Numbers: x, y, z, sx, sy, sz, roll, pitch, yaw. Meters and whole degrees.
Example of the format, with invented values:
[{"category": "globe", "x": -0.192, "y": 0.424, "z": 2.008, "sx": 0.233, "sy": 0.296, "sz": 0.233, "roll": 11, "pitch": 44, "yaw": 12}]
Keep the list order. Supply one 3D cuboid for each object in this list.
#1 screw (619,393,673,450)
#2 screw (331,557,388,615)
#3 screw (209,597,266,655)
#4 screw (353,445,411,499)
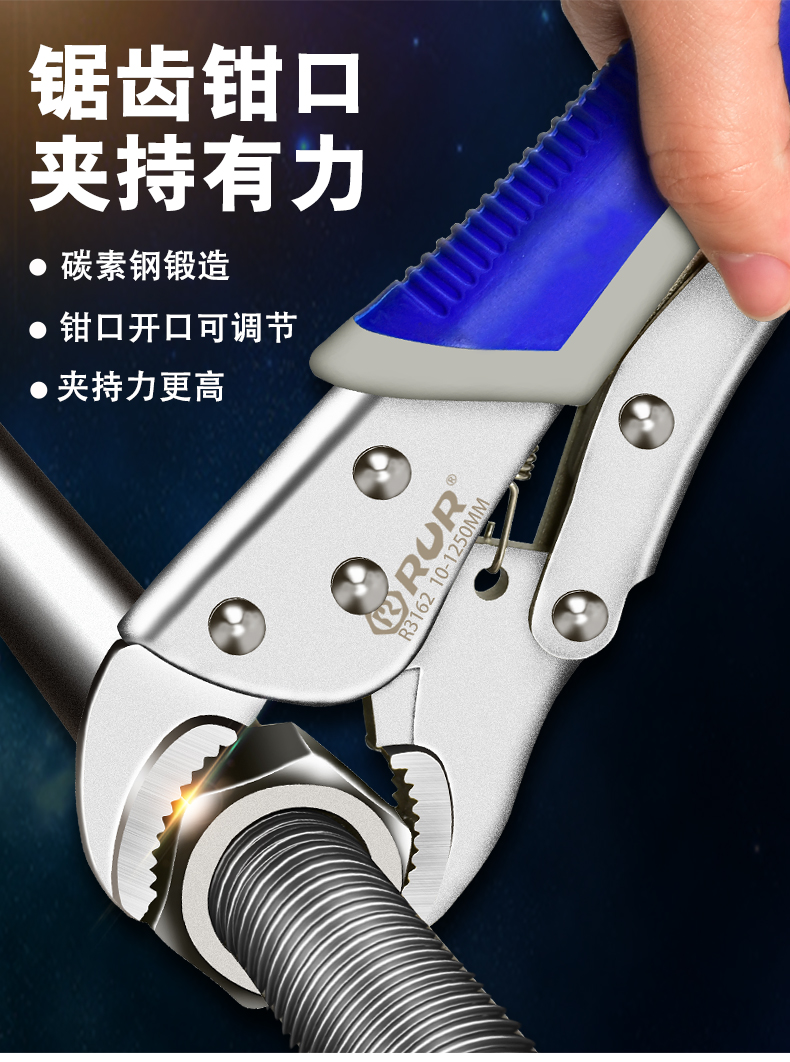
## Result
[{"category": "screw", "x": 0.093, "y": -0.039, "z": 0.403, "sx": 0.019, "sy": 0.004, "sz": 0.017, "roll": -1, "pitch": 99, "yaw": 0}, {"category": "screw", "x": -0.012, "y": 0.018, "z": 0.382, "sx": 0.018, "sy": 0.012, "sz": 0.016, "roll": -19, "pitch": 66, "yaw": -16}, {"category": "screw", "x": -0.052, "y": 0.032, "z": 0.378, "sx": 0.017, "sy": 0.010, "sz": 0.016, "roll": 43, "pitch": 65, "yaw": 16}, {"category": "screw", "x": -0.004, "y": -0.019, "z": 0.377, "sx": 0.018, "sy": 0.010, "sz": 0.015, "roll": 5, "pitch": 61, "yaw": -4}]
